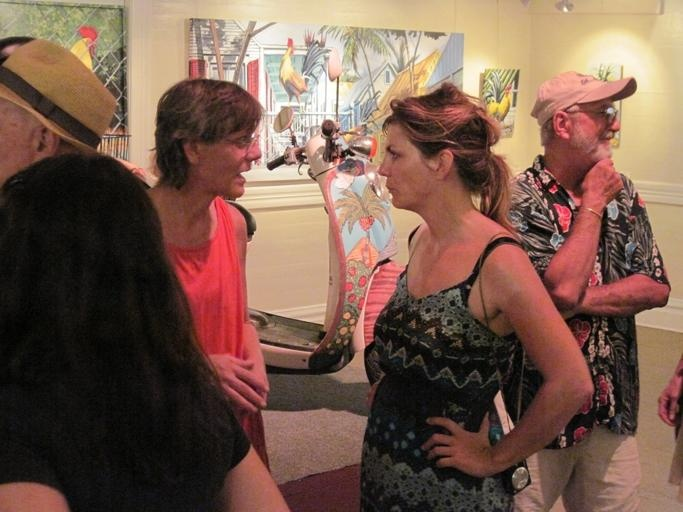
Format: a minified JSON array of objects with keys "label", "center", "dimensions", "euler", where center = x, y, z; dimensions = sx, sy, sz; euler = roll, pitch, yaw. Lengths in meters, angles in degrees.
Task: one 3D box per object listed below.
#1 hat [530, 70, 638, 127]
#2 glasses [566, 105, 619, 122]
[{"label":"hat","center":[0.857,-0.583,1.913],"dimensions":[0.340,0.152,0.239],"euler":[-18,-1,32]},{"label":"glasses","center":[0.880,-0.501,1.842],"dimensions":[0.132,0.039,0.096],"euler":[0,10,0]}]
